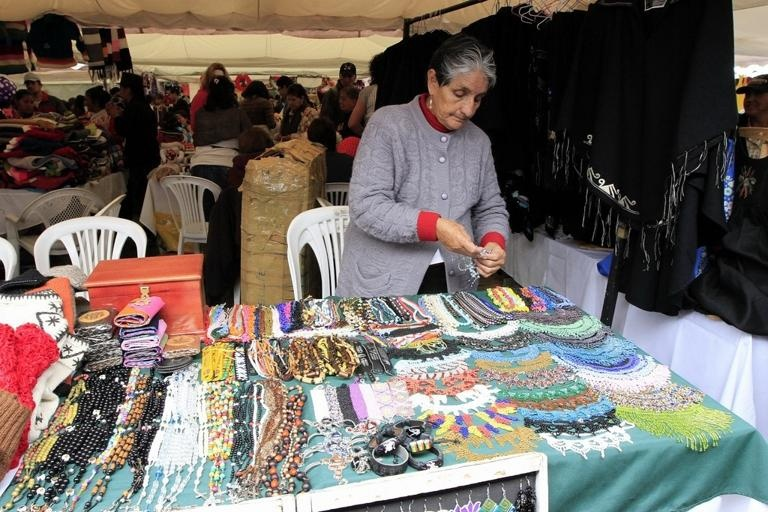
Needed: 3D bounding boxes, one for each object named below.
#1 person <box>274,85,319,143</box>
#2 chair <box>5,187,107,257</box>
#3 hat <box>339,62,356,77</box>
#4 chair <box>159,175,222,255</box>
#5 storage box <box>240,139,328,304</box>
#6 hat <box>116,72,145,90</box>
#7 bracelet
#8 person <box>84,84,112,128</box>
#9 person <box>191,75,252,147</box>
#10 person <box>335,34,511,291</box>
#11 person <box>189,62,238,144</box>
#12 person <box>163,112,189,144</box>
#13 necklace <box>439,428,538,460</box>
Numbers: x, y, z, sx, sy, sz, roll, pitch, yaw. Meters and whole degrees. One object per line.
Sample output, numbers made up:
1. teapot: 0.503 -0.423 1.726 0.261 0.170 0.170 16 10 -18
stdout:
1. person: -1.316 -2.009 6.943 0.614 0.801 0.539 15 19 25
2. chair: -2.718 -0.293 3.923 0.379 0.510 0.390 -25 56 -38
3. hat: -0.531 -2.695 6.806 0.244 0.180 0.351 4 25 -1
4. chair: -2.048 -0.351 5.018 0.575 0.848 0.683 -6 -6 -31
5. storage box: -0.768 -0.232 3.619 0.492 1.112 1.071 6 20 4
6. hat: -3.270 -2.223 6.176 0.253 0.148 0.252 1 16 -15
7. bracelet: 0.064 0.586 1.475 0.231 0.074 0.192 0 17 4
8. person: -4.563 -2.347 7.670 0.360 0.672 0.748 -6 19 -24
9. person: -1.788 -1.580 5.213 0.609 0.730 0.380 -8 18 -21
10. person: 0.213 -0.410 2.413 0.958 1.321 0.682 -3 17 -6
11. person: -2.348 -1.997 6.326 0.346 0.980 0.322 23 18 28
12. person: -2.981 -1.814 6.802 0.369 0.401 0.749 -9 19 -23
13. necklace: 0.334 0.587 1.510 0.311 0.030 0.110 -4 18 -9
